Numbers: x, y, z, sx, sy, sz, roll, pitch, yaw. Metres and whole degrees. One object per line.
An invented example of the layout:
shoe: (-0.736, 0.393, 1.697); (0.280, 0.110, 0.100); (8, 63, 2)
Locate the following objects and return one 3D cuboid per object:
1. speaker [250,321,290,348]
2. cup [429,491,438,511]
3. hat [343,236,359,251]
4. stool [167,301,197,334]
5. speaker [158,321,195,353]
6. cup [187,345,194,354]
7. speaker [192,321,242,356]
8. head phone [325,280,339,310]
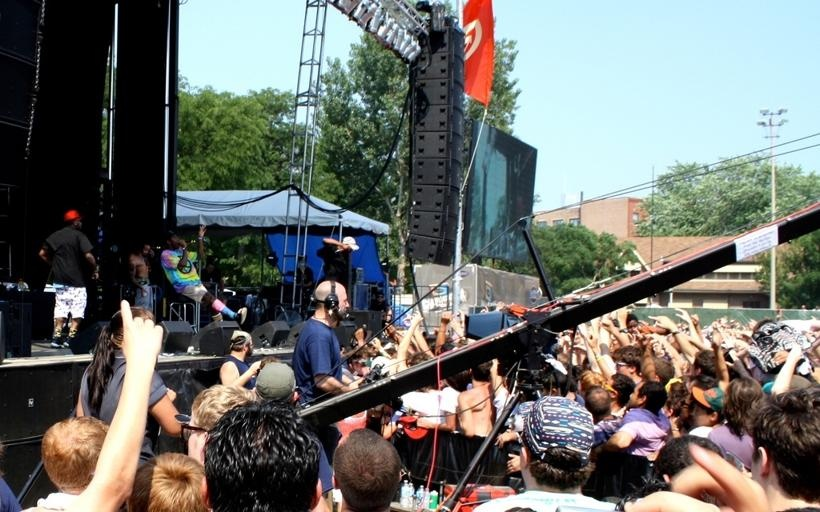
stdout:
speaker: (-2.543, 1.376, 16.426); (0.455, 0.386, 0.519); (15, 7, 27)
cup: (0.301, 3.163, 11.860); (0.143, 0.274, 0.157); (2, -16, 0)
hat: (-1.273, -0.278, 19.275); (0.321, 0.174, 0.209); (36, 7, 12)
stool: (-4.250, 1.121, 17.010); (0.425, 0.914, 0.471); (-3, -9, 21)
speaker: (-3.736, 1.303, 14.767); (0.451, 0.585, 0.578); (-18, -15, 20)
cup: (-3.593, 1.532, 14.984); (0.076, 0.083, 0.098); (0, -9, 2)
speaker: (-3.192, 1.297, 14.959); (0.522, 0.450, 0.547); (1, 0, 24)
head phone: (-0.994, 0.498, 11.523); (0.114, 0.278, 0.288); (1, -11, -7)
